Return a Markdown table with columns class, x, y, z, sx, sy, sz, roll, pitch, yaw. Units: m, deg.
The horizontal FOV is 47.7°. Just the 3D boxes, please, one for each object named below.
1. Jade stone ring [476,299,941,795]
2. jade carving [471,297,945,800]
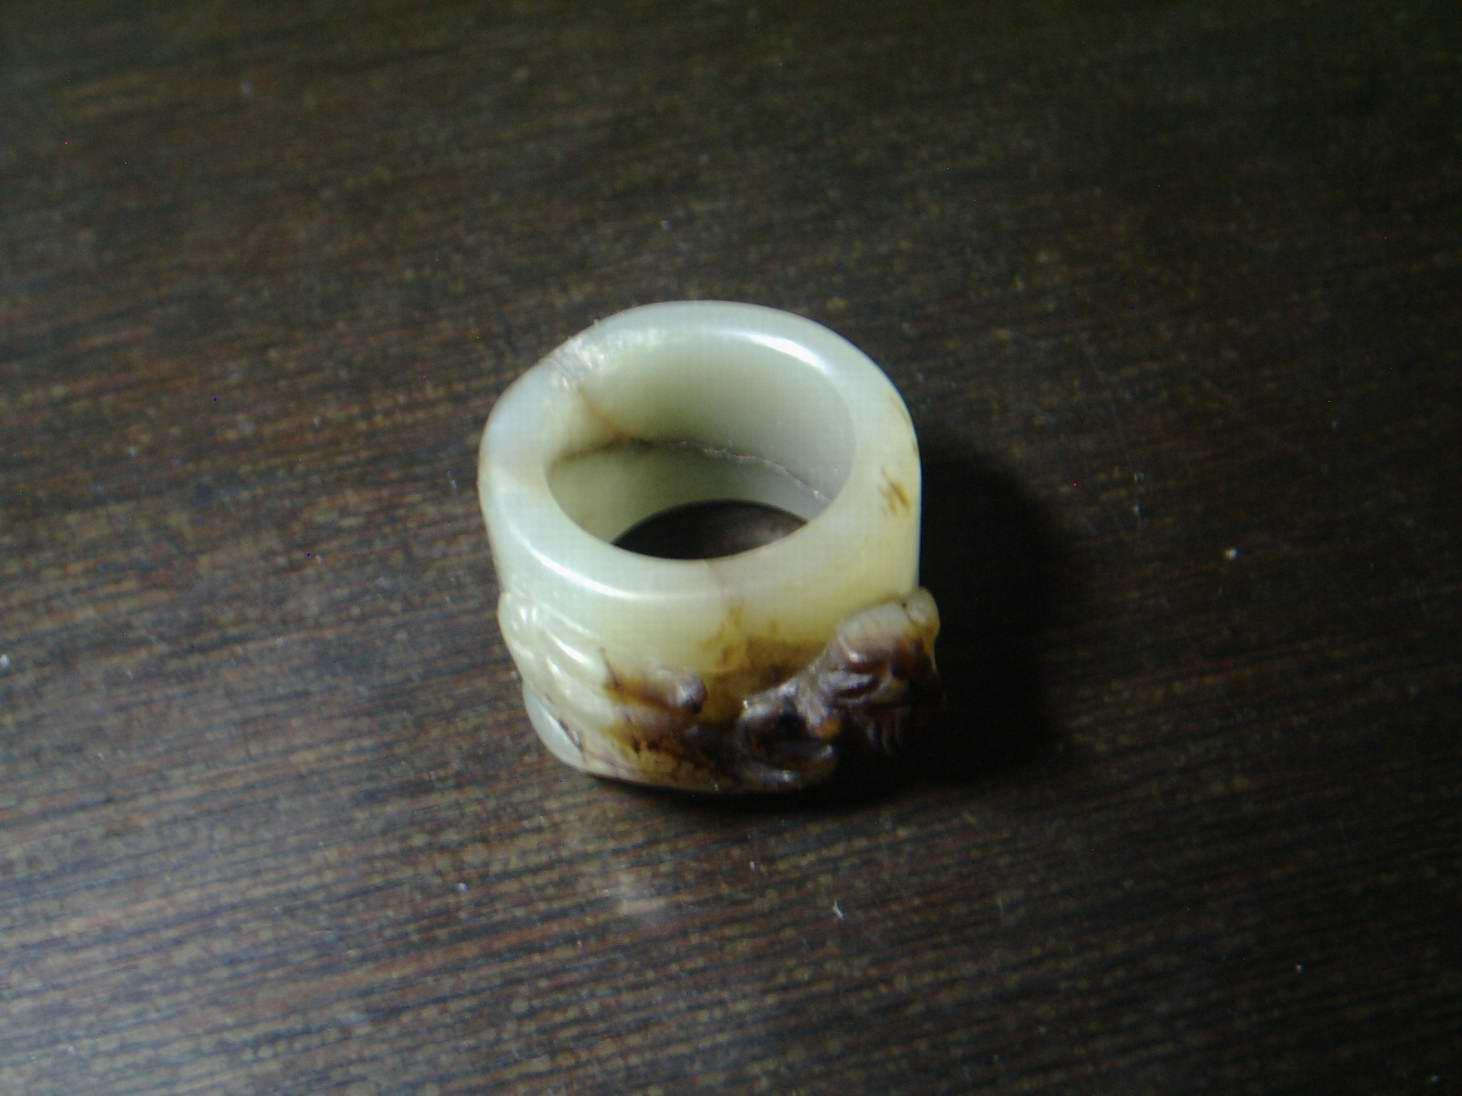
| class | x | y | z | sx | sy | sz | roll | pitch | yaw |
| --- | --- | --- | --- | --- | --- | --- | --- | --- | --- |
| Jade stone ring | -0.021 | 0.001 | 0.935 | 0.248 | 0.169 | 0.260 | 0 | 44 | 0 |
| jade carving | -0.015 | 0.002 | 0.934 | 0.250 | 0.169 | 0.266 | -35 | 53 | -29 |
